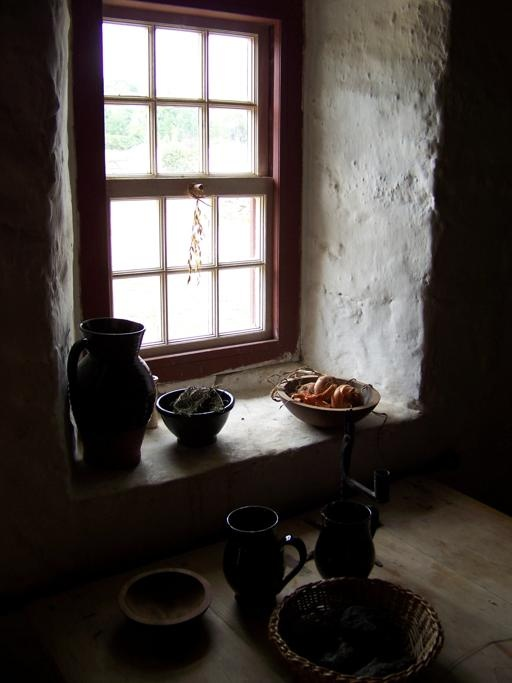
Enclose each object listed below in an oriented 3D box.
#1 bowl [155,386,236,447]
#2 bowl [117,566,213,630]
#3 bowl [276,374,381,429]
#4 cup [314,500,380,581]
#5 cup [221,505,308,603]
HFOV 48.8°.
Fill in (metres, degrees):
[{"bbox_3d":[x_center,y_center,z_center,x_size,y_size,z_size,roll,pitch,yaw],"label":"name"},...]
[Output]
[{"bbox_3d":[-0.155,0.198,1.437,0.191,0.132,0.203,-2,10,0],"label":"bowl"},{"bbox_3d":[-0.152,0.437,0.949,0.152,0.033,0.147,-2,10,0],"label":"bowl"},{"bbox_3d":[0.221,0.192,1.556,0.201,0.079,0.205,11,11,-2],"label":"bowl"},{"bbox_3d":[0.161,0.376,1.040,0.103,0.126,0.139,3,11,27],"label":"cup"},{"bbox_3d":[0.016,0.402,1.031,0.147,0.168,0.128,-2,10,4],"label":"cup"}]
